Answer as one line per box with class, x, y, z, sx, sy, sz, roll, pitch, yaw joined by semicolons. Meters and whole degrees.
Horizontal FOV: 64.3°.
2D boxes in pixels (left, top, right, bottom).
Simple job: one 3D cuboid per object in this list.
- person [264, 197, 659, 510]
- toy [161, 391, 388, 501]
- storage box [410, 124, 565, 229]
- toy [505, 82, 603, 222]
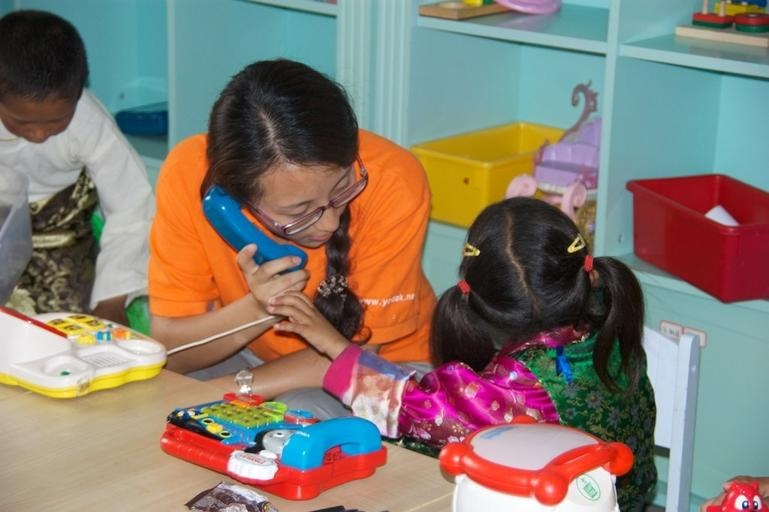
person;0.251;0.187;1.739;0.993;0.854;0.691;17;31;24
toy;-0.227;0.276;1.091;0.233;0.080;0.205;14;16;39
storage box;0.438;-0.404;2.532;0.605;0.297;0.408;-20;21;-41
toy;0.690;-0.409;2.321;0.406;0.445;0.448;5;21;11
